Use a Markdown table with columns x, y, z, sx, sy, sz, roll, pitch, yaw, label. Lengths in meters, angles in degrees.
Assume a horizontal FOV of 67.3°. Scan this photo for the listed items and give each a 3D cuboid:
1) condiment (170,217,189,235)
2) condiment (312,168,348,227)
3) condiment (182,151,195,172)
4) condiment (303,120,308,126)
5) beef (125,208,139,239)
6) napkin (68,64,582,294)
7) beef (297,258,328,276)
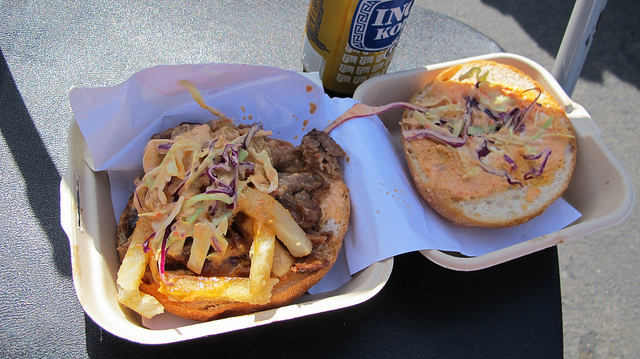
| x | y | z | sx | sy | sz | roll | pitch | yaw | label |
| --- | --- | --- | --- | --- | --- | --- | --- | --- | --- |
| -0.576 | 0.195 | 1.979 | 0.050 | 0.031 | 0.078 | 21 | 63 | 8 | condiment |
| 0.038 | 0.092 | 2.175 | 0.197 | 0.064 | 0.230 | 3 | 74 | -5 | condiment |
| -0.568 | -0.078 | 2.052 | 0.042 | 0.032 | 0.087 | -1 | 62 | -3 | condiment |
| -0.075 | -0.283 | 2.367 | 0.024 | 0.008 | 0.029 | 4 | 97 | -4 | condiment |
| -0.815 | 0.185 | 2.073 | 0.032 | 0.090 | 0.111 | 12 | 72 | -40 | beef |
| -0.088 | 0.026 | 2.464 | 2.020 | 0.398 | 1.147 | 16 | 42 | -23 | napkin |
| -0.036 | 0.366 | 2.039 | 0.090 | 0.069 | 0.021 | -13 | 89 | -34 | beef |
